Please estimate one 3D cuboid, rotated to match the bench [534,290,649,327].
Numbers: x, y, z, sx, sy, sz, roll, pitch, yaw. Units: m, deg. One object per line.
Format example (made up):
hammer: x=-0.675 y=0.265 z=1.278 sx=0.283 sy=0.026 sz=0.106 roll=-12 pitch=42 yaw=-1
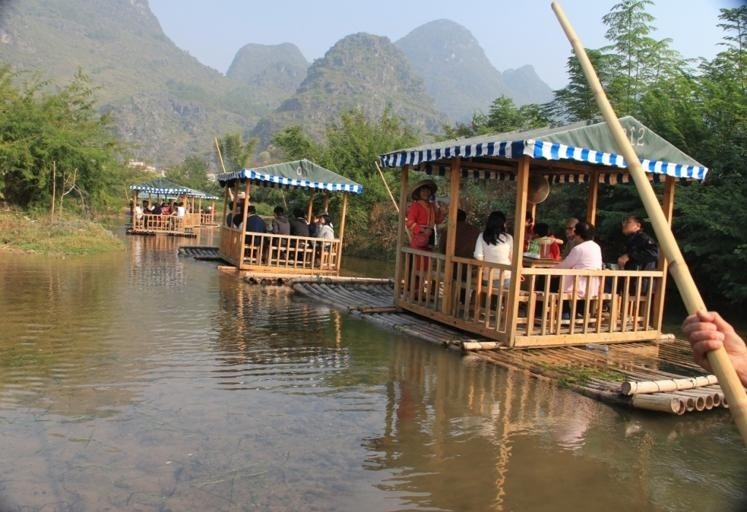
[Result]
bench: x=4.204 y=1.034 z=10.820 sx=1.363 sy=0.458 sz=0.978 roll=1 pitch=-1 yaw=-30
